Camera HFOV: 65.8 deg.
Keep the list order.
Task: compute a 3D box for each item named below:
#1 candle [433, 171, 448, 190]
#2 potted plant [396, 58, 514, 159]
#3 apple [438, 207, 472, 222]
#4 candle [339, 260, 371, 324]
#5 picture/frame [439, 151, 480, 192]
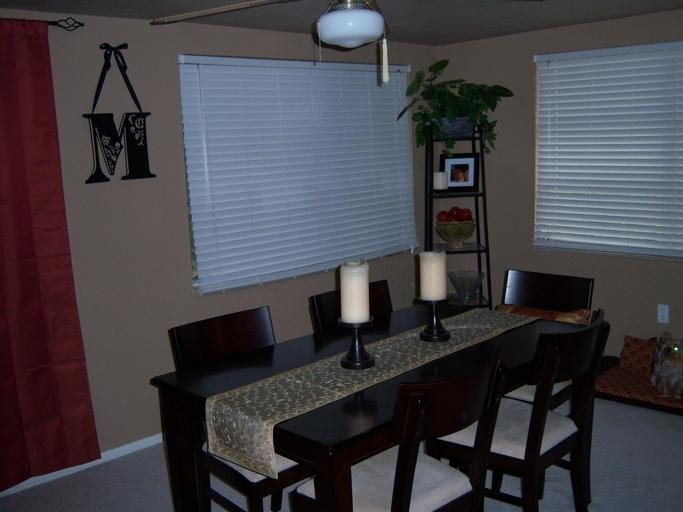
[{"bbox_3d":[0.762,-0.586,4.117,0.123,0.147,0.127,1,4,2],"label":"candle"},{"bbox_3d":[0.886,-1.215,4.130,0.945,0.484,0.889,5,28,29],"label":"potted plant"},{"bbox_3d":[0.885,-0.329,4.125,0.268,0.098,0.165,1,13,14],"label":"apple"},{"bbox_3d":[0.052,0.143,2.152,0.116,0.236,0.132,-2,12,-1],"label":"candle"},{"bbox_3d":[0.920,-0.653,4.141,0.302,0.315,0.025,1,5,7],"label":"picture/frame"}]
